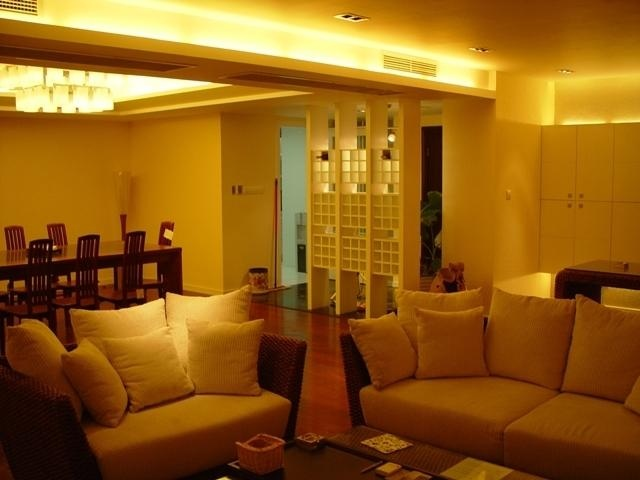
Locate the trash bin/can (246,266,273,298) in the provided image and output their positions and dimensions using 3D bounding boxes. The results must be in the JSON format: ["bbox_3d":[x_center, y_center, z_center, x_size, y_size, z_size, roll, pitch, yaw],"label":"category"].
[{"bbox_3d":[-1.079,0.737,9.162,0.427,0.440,0.474,-1,7,-14],"label":"trash bin/can"}]

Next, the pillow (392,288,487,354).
[{"bbox_3d":[0.925,0.657,3.996,0.449,0.375,0.163,-1,2,0],"label":"pillow"}]

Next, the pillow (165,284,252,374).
[{"bbox_3d":[-0.831,0.692,3.809,0.557,0.643,0.260,-1,-10,-9],"label":"pillow"}]

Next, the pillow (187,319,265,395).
[{"bbox_3d":[-0.686,0.855,3.652,0.450,0.488,0.161,0,-14,0],"label":"pillow"}]
